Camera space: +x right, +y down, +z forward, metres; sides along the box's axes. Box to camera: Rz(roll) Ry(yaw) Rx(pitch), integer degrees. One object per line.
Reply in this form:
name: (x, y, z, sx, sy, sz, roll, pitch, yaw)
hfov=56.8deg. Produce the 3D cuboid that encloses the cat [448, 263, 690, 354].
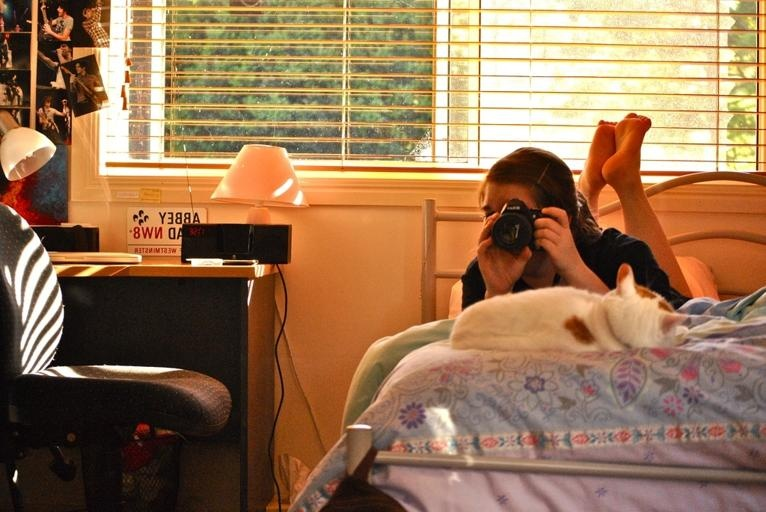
cat: (0.380, 0.090, 1.478, 0.450, 0.175, 0.206, 0, 1, 2)

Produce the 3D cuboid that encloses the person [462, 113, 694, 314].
person: (0.608, -0.186, 2.196, 0.670, 0.662, 0.757, 8, 13, 38)

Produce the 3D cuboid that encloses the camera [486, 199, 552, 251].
camera: (0.348, -0.065, 1.891, 0.138, 0.134, 0.149, 3, -6, 4)

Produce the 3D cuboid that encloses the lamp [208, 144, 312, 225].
lamp: (-0.461, -0.268, 2.568, 0.300, 0.258, 0.303, 1, -5, 0)

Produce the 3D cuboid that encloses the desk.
desk: (-0.654, 0.415, 2.671, 0.841, 0.775, 0.833, 0, -3, 1)
